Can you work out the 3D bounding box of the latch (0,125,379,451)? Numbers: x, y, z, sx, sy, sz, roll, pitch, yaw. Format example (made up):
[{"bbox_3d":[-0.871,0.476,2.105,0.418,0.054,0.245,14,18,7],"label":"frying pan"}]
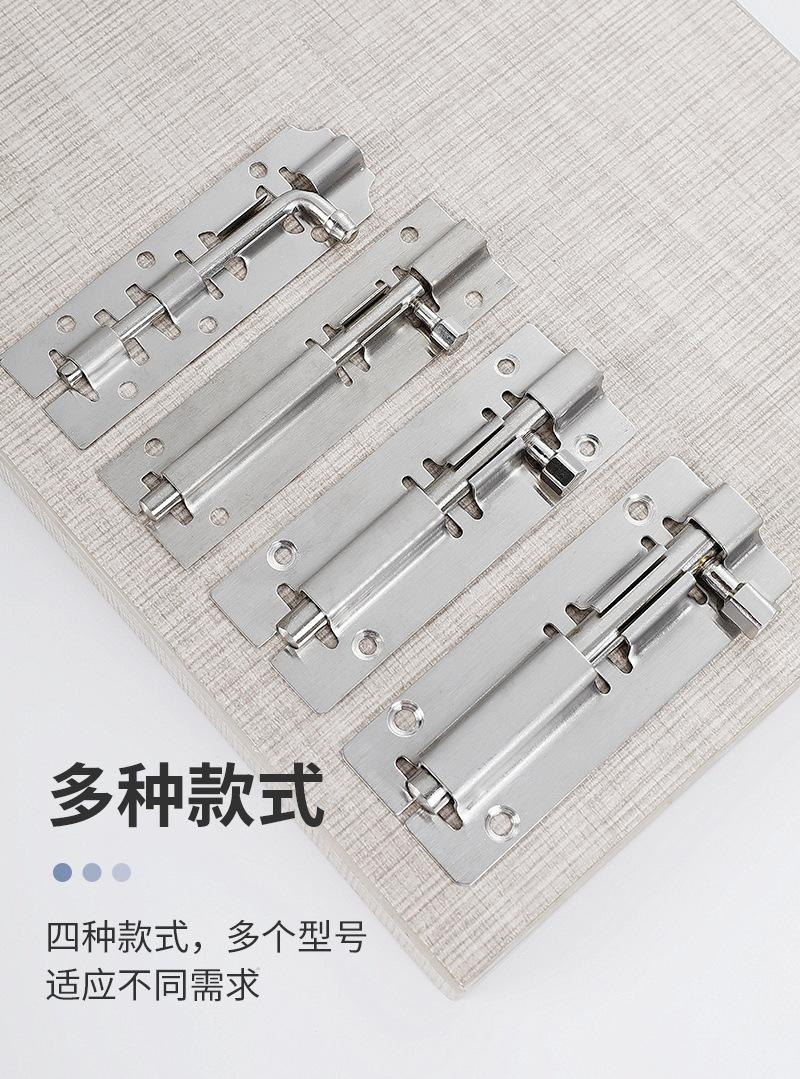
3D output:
[{"bbox_3d":[-0.167,-0.258,1.197,0.481,0.177,0.068,-40,-2,-16],"label":"latch"}]

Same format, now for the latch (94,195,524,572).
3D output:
[{"bbox_3d":[-0.051,-0.160,1.176,0.514,0.184,0.086,-39,-5,-15],"label":"latch"}]
